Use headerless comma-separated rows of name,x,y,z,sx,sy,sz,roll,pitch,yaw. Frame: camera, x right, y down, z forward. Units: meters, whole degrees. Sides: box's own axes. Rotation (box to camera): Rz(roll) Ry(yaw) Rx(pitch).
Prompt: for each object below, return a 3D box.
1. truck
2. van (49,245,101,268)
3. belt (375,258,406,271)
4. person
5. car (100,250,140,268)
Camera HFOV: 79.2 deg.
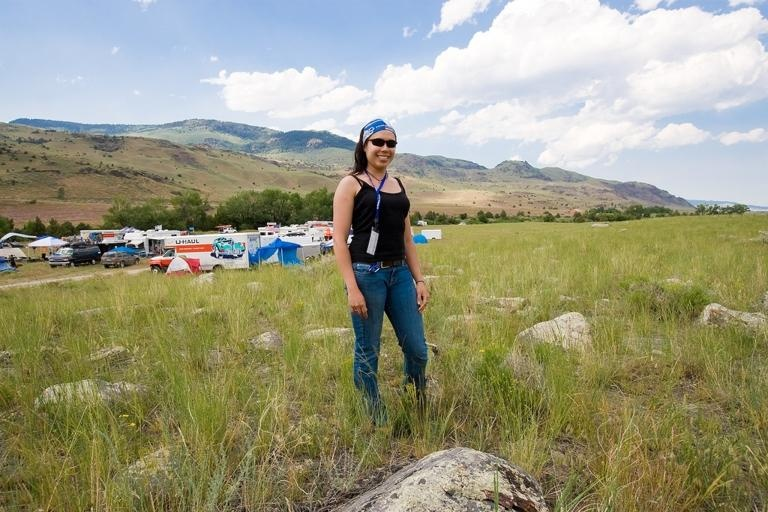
truck,-10.325,-0.243,27.223,5.717,2.144,0.958,-1,8,15
van,-24.620,-0.064,37.397,1.815,1.433,3.288,-1,-2,7
belt,0.050,0.090,5.193,0.415,0.150,0.059,-7,9,-26
person,-0.037,0.122,5.274,1.016,3.334,0.770,-3,8,-7
car,-20.493,0.200,36.213,1.247,1.102,2.517,-1,-1,4
